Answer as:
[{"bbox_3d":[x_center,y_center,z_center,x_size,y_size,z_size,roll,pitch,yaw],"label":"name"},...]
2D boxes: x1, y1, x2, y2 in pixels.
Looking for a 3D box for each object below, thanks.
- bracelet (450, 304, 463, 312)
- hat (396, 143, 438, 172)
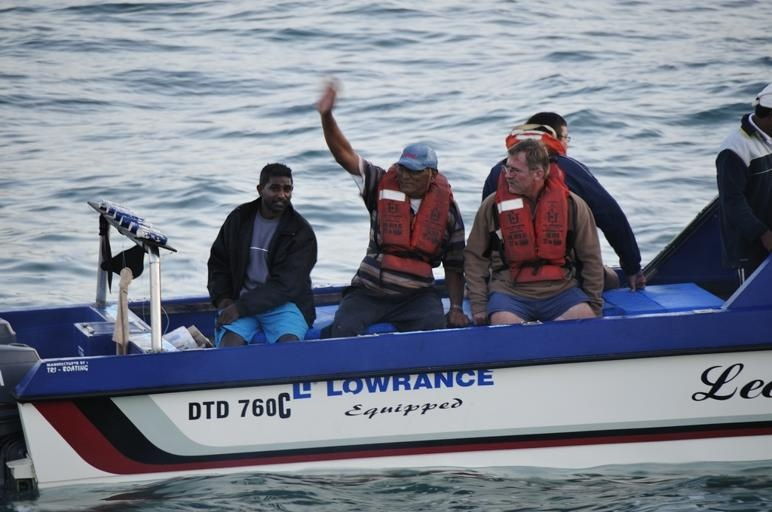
[{"bbox_3d":[0.902,0.653,23.036,0.120,0.101,0.107,18,28,19],"label":"bracelet"},{"bbox_3d":[0.452,-1.255,23.061,0.488,0.224,0.337,9,5,-30],"label":"hat"}]
